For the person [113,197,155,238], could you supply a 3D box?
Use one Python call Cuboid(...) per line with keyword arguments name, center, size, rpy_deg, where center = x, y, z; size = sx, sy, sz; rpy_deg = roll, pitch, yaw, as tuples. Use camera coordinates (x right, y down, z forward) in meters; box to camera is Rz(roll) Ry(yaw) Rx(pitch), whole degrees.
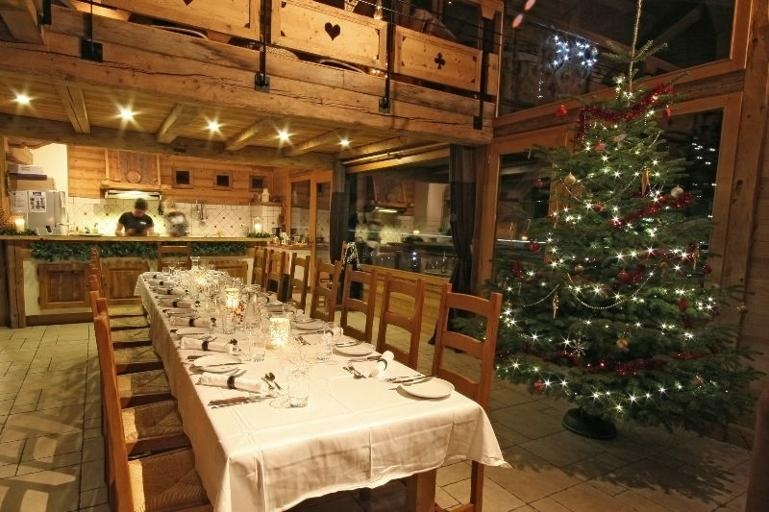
Cuboid(name="person", center=(-4.074, -0.635, 8.639), size=(0.534, 0.600, 0.982), rpy_deg=(-1, 4, -24))
